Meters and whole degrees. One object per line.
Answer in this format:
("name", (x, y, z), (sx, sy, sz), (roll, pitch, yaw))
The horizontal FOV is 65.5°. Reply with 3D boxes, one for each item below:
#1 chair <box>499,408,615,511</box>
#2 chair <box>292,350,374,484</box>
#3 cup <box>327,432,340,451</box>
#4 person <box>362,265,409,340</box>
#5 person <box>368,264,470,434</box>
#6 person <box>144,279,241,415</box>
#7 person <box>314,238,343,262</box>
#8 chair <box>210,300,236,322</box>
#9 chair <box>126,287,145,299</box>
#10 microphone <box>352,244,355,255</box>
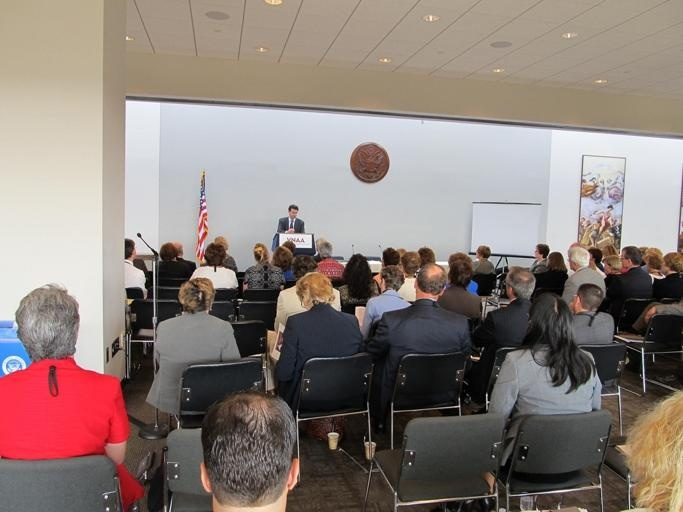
("chair", (1.217, 1.117, 3.007), (0.584, 0.564, 0.335), (2, 3, 9))
("chair", (-0.039, 1.128, 3.975), (0.529, 0.903, 0.706), (2, 3, 4))
("cup", (-0.076, 1.493, 4.280), (0.111, 0.124, 0.111), (-1, -6, 0))
("person", (0.430, 0.493, 4.682), (0.419, 0.760, 0.389), (6, -12, -12))
("person", (0.588, 0.836, 4.427), (0.821, 1.717, 0.919), (2, 18, -6))
("person", (-1.009, 0.615, 3.936), (0.788, 0.987, 0.532), (-3, 16, -17))
("person", (-0.212, -0.103, 8.771), (0.371, 0.439, 1.168), (-2, -4, -1))
("chair", (-1.169, 0.523, 5.325), (0.196, 0.281, 0.218), (-1, 12, -25))
("chair", (-2.149, 0.395, 5.554), (0.115, 0.171, 0.132), (3, 19, -1))
("microphone", (0.272, -0.166, 11.467), (0.074, 0.157, 0.082), (1, 3, -8))
